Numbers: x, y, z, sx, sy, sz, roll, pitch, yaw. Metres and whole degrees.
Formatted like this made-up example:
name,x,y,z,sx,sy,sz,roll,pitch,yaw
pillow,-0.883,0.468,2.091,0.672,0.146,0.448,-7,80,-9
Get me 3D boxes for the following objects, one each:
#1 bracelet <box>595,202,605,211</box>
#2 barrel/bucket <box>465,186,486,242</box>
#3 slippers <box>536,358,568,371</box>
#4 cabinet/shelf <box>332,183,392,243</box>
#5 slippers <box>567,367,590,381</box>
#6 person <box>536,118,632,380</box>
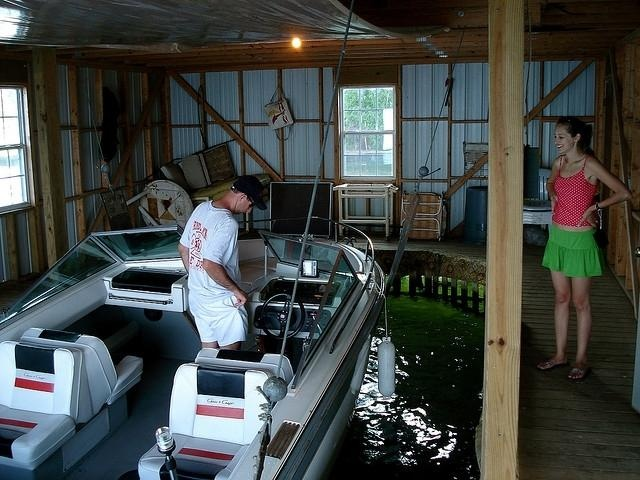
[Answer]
name,x,y,z,sx,sy,sz,roll,pitch,yaw
bracelet,2.215,-0.270,3.969,0.057,0.032,0.077,5,22,-4
barrel/bucket,3.102,-0.471,10.031,0.466,1.128,0.308,4,14,31
slippers,2.055,1.112,4.476,0.270,0.106,0.111,-2,14,1
cabinet/shelf,0.879,-0.754,10.723,1.676,1.404,1.044,2,6,17
slippers,2.249,1.160,4.321,0.226,0.063,0.082,1,-4,-44
person,2.131,0.117,4.088,0.572,2.202,0.367,5,14,32
